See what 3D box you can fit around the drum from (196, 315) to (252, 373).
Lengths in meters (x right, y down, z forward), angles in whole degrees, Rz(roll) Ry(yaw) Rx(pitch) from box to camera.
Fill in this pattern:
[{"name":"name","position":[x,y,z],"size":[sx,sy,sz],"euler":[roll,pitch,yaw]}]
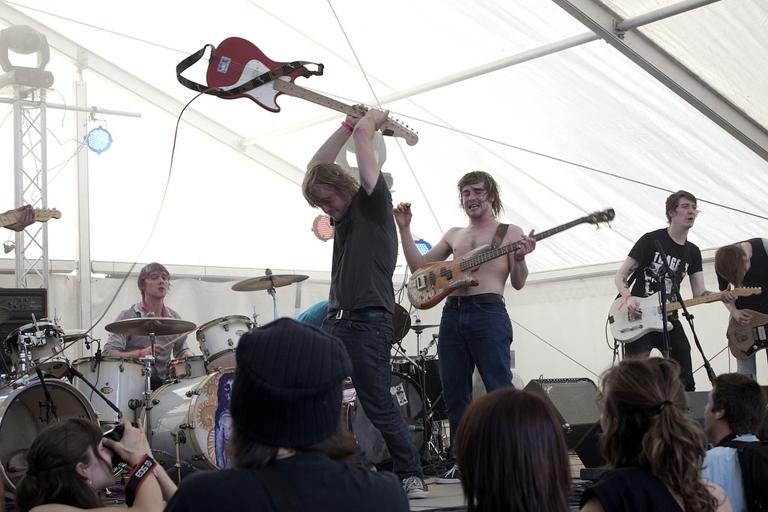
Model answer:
[{"name":"drum","position":[-1.545,0.743,7.092],"size":[0.500,0.336,0.539],"euler":[-10,-9,-2]}]

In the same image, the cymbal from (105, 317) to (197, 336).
[{"name":"cymbal","position":[-2.035,0.619,6.879],"size":[0.369,0.080,0.367],"euler":[7,-19,-25]}]

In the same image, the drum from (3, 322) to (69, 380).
[{"name":"drum","position":[-2.798,0.746,6.346],"size":[0.619,0.467,0.434],"euler":[-8,-11,40]}]

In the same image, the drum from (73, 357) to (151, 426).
[{"name":"drum","position":[-2.403,1.213,6.768],"size":[0.622,0.602,0.624],"euler":[-18,-22,29]}]

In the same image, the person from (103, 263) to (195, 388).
[{"name":"person","position":[-2.254,0.627,7.557],"size":[0.820,1.309,0.671],"euler":[-3,6,-31]}]

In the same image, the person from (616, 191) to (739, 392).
[{"name":"person","position":[2.617,0.563,7.112],"size":[1.012,2.227,0.672],"euler":[3,11,4]}]

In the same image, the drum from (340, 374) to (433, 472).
[{"name":"drum","position":[0.036,1.400,6.739],"size":[0.776,0.836,0.587],"euler":[-6,10,-2]}]

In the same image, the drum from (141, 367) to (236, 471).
[{"name":"drum","position":[-1.587,1.389,6.709],"size":[0.736,0.836,0.858],"euler":[-6,-5,21]}]

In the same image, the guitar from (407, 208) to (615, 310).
[{"name":"guitar","position":[0.879,-0.013,5.863],"size":[1.683,0.510,0.212],"euler":[-25,-59,22]}]

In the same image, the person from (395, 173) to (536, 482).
[{"name":"person","position":[0.577,0.314,6.165],"size":[0.975,2.654,0.917],"euler":[0,-2,-9]}]

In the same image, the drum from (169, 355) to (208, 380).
[{"name":"drum","position":[-1.740,0.994,6.925],"size":[0.231,0.136,0.228],"euler":[0,-10,0]}]
